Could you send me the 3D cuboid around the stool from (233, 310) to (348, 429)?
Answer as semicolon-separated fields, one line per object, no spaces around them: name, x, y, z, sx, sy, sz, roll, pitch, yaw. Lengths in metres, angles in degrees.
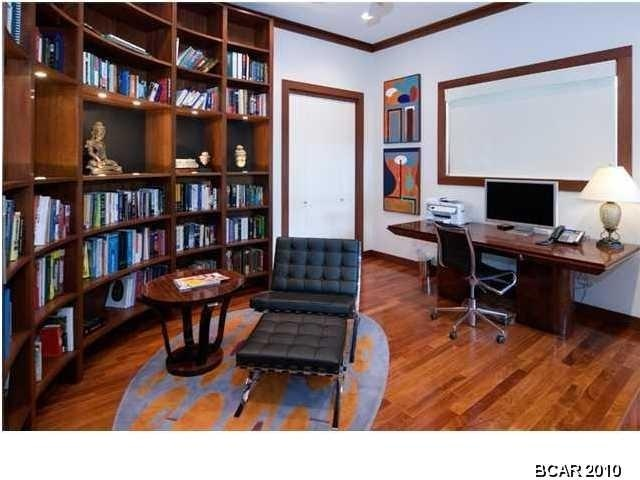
stool;-0.150;0.897;3.404;0.712;0.508;0.764;3;12;9

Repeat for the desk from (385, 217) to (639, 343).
desk;1.896;0.368;4.563;0.873;0.822;1.775;-10;15;-41

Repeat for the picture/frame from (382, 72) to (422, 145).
picture/frame;1.105;-1.724;6.236;0.101;0.846;0.692;-7;14;-33

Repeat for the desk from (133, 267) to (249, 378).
desk;-1.042;0.607;3.788;0.835;0.663;0.839;7;12;27
